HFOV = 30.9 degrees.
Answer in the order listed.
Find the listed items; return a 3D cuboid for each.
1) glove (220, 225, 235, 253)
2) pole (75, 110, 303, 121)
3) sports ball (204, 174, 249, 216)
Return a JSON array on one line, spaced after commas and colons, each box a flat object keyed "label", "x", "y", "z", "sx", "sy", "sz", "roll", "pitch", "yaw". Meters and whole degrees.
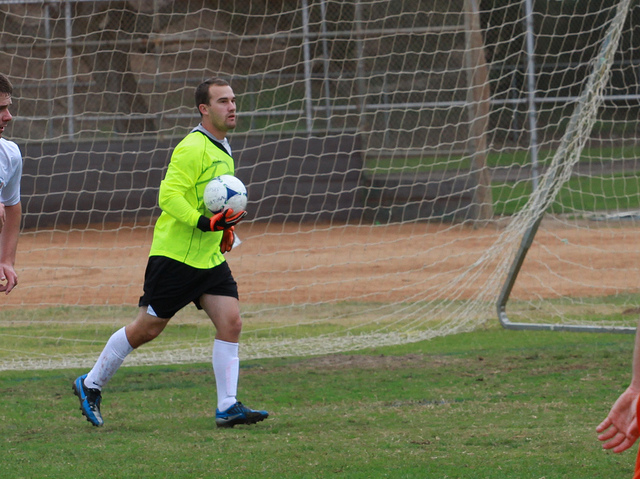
[{"label": "glove", "x": -0.908, "y": -0.004, "z": 11.250, "sx": 0.099, "sy": 0.241, "sz": 0.151, "roll": 21, "pitch": -7, "yaw": -24}, {"label": "pole", "x": -2.434, "y": -2.120, "z": 19.680, "sx": 2.788, "sy": 0.058, "sz": 0.066, "roll": -2, "pitch": -30, "yaw": -3}, {"label": "sports ball", "x": -0.920, "y": -0.460, "z": 11.132, "sx": 0.453, "sy": 0.367, "sz": 0.375, "roll": -10, "pitch": -31, "yaw": -1}]
